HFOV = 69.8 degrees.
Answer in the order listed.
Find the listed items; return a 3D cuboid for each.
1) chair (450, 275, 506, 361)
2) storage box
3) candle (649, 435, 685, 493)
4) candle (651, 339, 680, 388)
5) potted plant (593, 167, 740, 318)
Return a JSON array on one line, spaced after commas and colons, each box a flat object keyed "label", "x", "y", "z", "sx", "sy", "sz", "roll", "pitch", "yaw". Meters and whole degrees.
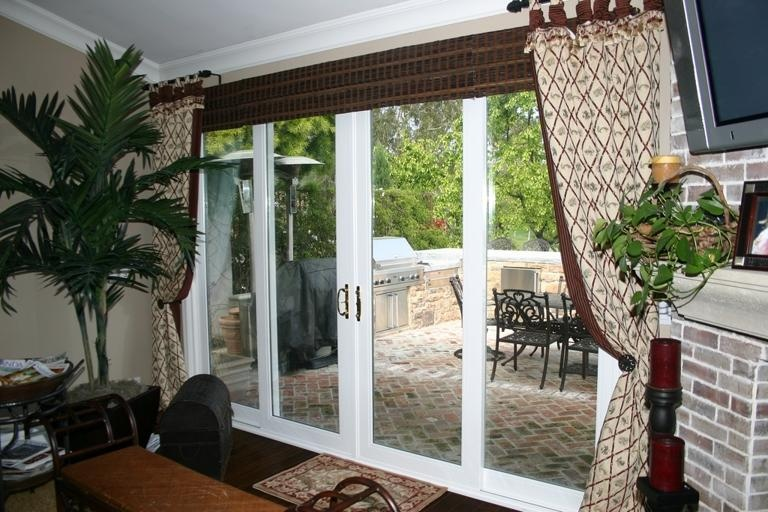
[{"label": "chair", "x": 0.800, "y": 0.436, "z": 4.131, "sx": 0.514, "sy": 0.781, "sz": 0.459, "roll": -1, "pitch": 3, "yaw": 18}, {"label": "storage box", "x": -1.292, "y": 1.205, "z": 4.283, "sx": 0.585, "sy": 0.688, "sz": 0.748, "roll": 3, "pitch": 8, "yaw": 3}, {"label": "candle", "x": 1.312, "y": 0.963, "z": 2.556, "sx": 0.140, "sy": 0.244, "sz": 0.249, "roll": 1, "pitch": -2, "yaw": 10}, {"label": "candle", "x": 1.328, "y": 0.514, "z": 2.602, "sx": 0.131, "sy": 0.229, "sz": 0.074, "roll": 3, "pitch": 10, "yaw": 27}, {"label": "potted plant", "x": 1.414, "y": -0.165, "z": 2.887, "sx": 0.866, "sy": 0.375, "sz": 0.750, "roll": -18, "pitch": 7, "yaw": -40}]
